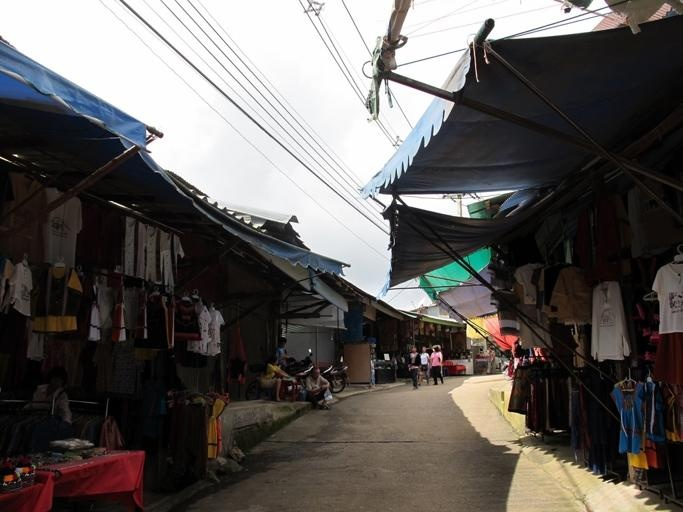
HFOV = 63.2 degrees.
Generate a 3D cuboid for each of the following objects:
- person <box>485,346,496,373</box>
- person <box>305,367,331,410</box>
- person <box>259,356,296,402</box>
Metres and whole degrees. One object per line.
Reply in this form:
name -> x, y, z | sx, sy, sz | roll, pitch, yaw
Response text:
person -> 9.681, 6.829, 35.970 | 0.538, 1.399, 3.349 | -3, -7, 14
person -> -0.709, 3.854, 15.909 | 0.698, 1.326, 0.913 | 10, -43, -22
person -> -1.859, 3.392, 15.325 | 0.782, 1.127, 0.795 | -5, -7, 30
